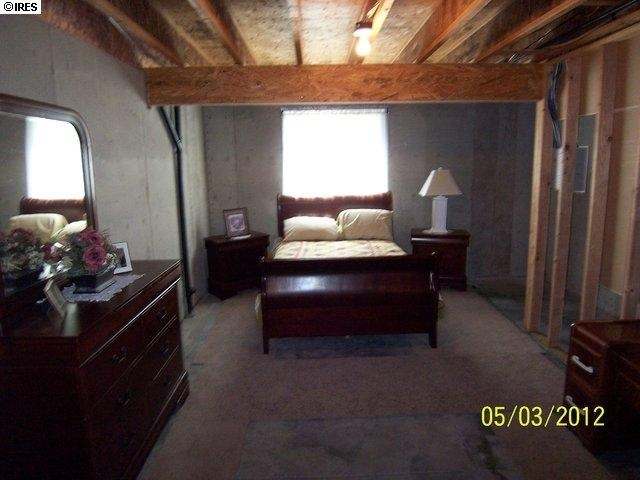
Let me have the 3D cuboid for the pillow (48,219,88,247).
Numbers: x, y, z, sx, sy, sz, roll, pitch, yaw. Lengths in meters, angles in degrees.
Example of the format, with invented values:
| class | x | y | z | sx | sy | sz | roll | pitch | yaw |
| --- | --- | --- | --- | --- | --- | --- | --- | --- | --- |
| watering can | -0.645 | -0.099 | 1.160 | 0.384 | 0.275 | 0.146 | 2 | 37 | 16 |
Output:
| class | x | y | z | sx | sy | sz | roll | pitch | yaw |
| --- | --- | --- | --- | --- | --- | --- | --- | --- | --- |
| pillow | -1.621 | -0.061 | 2.927 | 0.118 | 0.051 | 0.157 | 9 | 18 | 25 |

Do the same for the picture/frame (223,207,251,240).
| class | x | y | z | sx | sy | sz | roll | pitch | yaw |
| --- | --- | --- | --- | --- | --- | --- | --- | --- | --- |
| picture/frame | -1.093 | -0.216 | 5.901 | 0.409 | 0.433 | 0.049 | -13 | 5 | -42 |

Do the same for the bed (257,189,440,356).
| class | x | y | z | sx | sy | sz | roll | pitch | yaw |
| --- | --- | --- | --- | --- | --- | --- | --- | --- | --- |
| bed | 0.287 | 0.337 | 4.772 | 1.568 | 1.301 | 2.462 | -1 | 7 | -1 |

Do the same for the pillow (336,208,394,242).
| class | x | y | z | sx | sy | sz | roll | pitch | yaw |
| --- | --- | --- | --- | --- | --- | --- | --- | --- | --- |
| pillow | 0.608 | -0.208 | 5.861 | 0.493 | 0.149 | 0.500 | 0 | 26 | 5 |

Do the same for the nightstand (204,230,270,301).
| class | x | y | z | sx | sy | sz | roll | pitch | yaw |
| --- | --- | --- | --- | --- | --- | --- | --- | --- | --- |
| nightstand | -1.031 | 0.328 | 5.600 | 0.767 | 0.669 | 0.453 | -10 | 21 | -34 |

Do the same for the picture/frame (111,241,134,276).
| class | x | y | z | sx | sy | sz | roll | pitch | yaw |
| --- | --- | --- | --- | --- | --- | --- | --- | --- | --- |
| picture/frame | -1.400 | 0.134 | 3.183 | 0.010 | 0.254 | 0.232 | -13 | 2 | 15 |

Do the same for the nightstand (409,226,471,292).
| class | x | y | z | sx | sy | sz | roll | pitch | yaw |
| --- | --- | --- | --- | --- | --- | --- | --- | --- | --- |
| nightstand | 1.706 | 0.274 | 6.103 | 0.785 | 0.710 | 0.587 | 2 | 6 | 31 |

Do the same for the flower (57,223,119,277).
| class | x | y | z | sx | sy | sz | roll | pitch | yaw |
| --- | --- | --- | --- | --- | --- | --- | --- | --- | --- |
| flower | -1.440 | 0.065 | 2.819 | 0.304 | 0.288 | 0.170 | -27 | 6 | -36 |
